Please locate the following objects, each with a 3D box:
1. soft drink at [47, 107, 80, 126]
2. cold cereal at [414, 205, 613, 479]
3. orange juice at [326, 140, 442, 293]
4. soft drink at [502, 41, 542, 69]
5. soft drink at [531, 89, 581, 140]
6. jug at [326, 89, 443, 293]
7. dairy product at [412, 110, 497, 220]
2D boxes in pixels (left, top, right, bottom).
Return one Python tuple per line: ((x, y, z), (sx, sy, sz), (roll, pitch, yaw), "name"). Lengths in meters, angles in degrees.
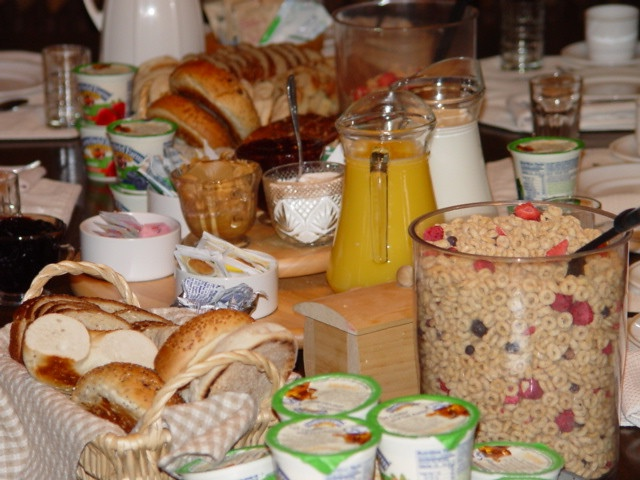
((-0.700, -0.332, 1.639), (0.086, 0.053, 0.047), (-7, 15, -21), "soft drink")
((0.186, 0.089, 0.575), (0.189, 0.233, 0.160), (5, 16, 27), "cold cereal")
((0.118, -0.034, 0.790), (0.126, 0.175, 0.185), (5, 24, 13), "orange juice")
((0.622, -0.565, 1.870), (0.096, 0.069, 0.093), (-4, 15, -15), "soft drink")
((0.480, -0.258, 1.242), (0.101, 0.126, 0.082), (6, 17, 35), "soft drink")
((0.080, -0.070, 0.779), (0.166, 0.247, 0.241), (5, 25, 14), "jug")
((0.193, -0.100, 0.864), (0.099, 0.130, 0.134), (-5, 19, 15), "dairy product")
